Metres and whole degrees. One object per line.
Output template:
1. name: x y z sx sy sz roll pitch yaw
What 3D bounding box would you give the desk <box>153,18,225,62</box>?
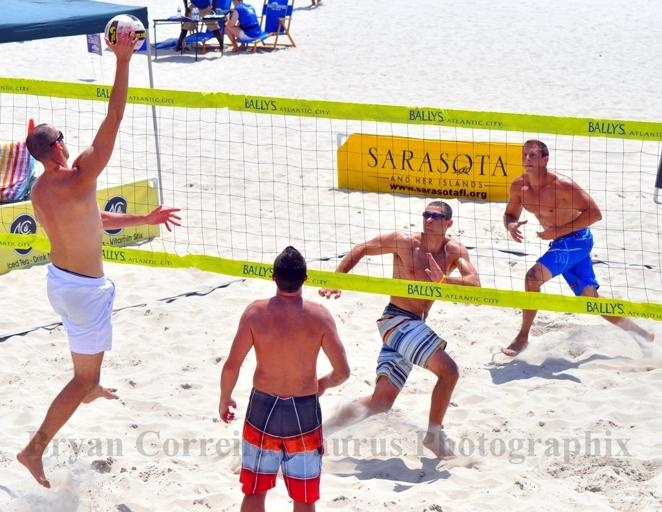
1. desk: -2.969 -4.653 18.216 1.556 0.834 1.428 4 21 12

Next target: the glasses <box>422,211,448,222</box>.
1. glasses: 0.839 -0.337 7.200 0.216 0.072 0.106 9 11 34

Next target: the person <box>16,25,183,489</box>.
1. person: -1.893 0.005 6.727 0.731 3.423 1.076 5 10 15

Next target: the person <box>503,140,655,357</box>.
1. person: 2.056 -0.352 8.071 0.900 1.396 0.465 4 9 10

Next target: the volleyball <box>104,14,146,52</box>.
1. volleyball: -1.536 -1.678 6.580 0.282 0.259 0.294 0 9 -14
